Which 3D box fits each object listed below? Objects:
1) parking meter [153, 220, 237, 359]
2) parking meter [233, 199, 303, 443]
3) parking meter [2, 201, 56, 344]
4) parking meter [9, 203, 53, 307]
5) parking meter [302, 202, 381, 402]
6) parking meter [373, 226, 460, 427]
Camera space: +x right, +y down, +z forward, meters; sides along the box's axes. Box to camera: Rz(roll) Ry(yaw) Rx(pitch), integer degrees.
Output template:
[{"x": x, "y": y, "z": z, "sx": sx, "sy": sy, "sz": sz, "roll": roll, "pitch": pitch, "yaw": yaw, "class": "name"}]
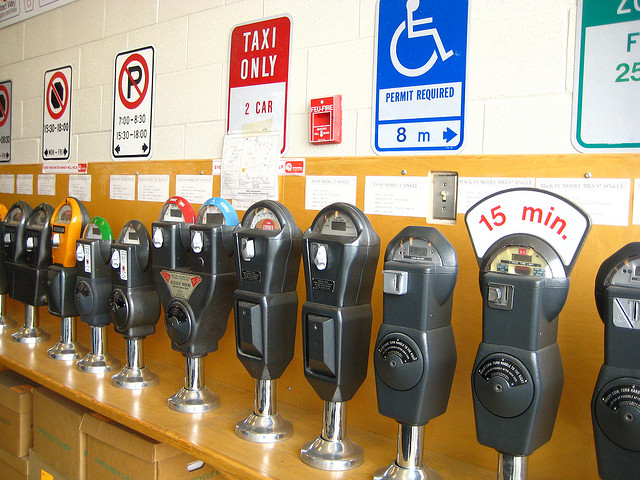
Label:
[{"x": -0.676, "y": 0.282, "z": 2.717, "sx": 0.463, "sy": 0.735, "sz": 0.157, "roll": 3, "pitch": 7, "yaw": 14, "class": "parking meter"}, {"x": -0.268, "y": 0.380, "z": 2.480, "sx": 0.325, "sy": 1.146, "sz": 0.280, "roll": 4, "pitch": 4, "yaw": 36, "class": "parking meter"}, {"x": -2.090, "y": 0.144, "z": 3.637, "sx": 0.394, "sy": 1.095, "sz": 0.423, "roll": -9, "pitch": 13, "yaw": -43, "class": "parking meter"}, {"x": -2.003, "y": 0.124, "z": 3.588, "sx": 0.226, "sy": 0.735, "sz": 0.538, "roll": -6, "pitch": 10, "yaw": -44, "class": "parking meter"}, {"x": 0.084, "y": 0.281, "z": 2.224, "sx": 0.335, "sy": 0.862, "sz": 0.208, "roll": 1, "pitch": 7, "yaw": 3, "class": "parking meter"}, {"x": 0.396, "y": 0.351, "z": 2.081, "sx": 0.294, "sy": 0.801, "sz": 0.320, "roll": 2, "pitch": 8, "yaw": 2, "class": "parking meter"}]
